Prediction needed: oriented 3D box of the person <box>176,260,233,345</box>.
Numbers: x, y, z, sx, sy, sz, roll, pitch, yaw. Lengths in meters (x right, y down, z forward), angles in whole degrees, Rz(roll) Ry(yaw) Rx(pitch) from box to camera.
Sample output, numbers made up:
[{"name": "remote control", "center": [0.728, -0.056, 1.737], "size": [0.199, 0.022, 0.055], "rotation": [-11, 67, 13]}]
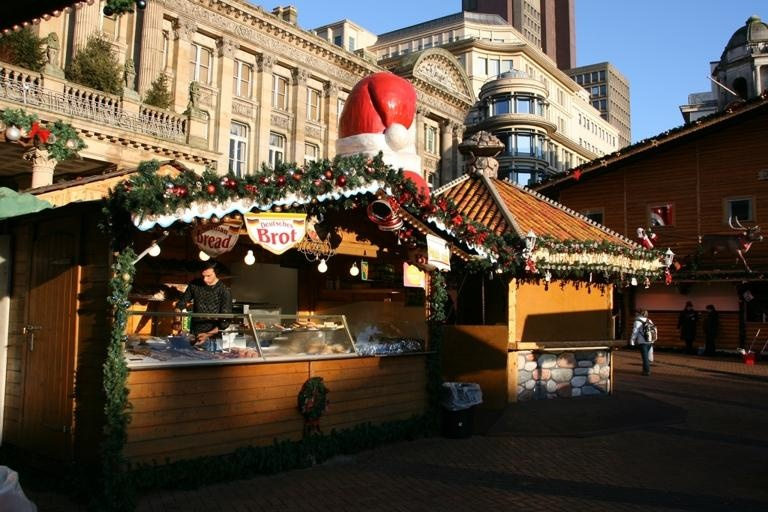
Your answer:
[{"name": "person", "center": [-3.389, 1.302, 14.333], "size": [0.950, 2.264, 0.819], "rotation": [10, 23, -1]}]

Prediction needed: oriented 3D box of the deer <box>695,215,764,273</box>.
[{"name": "deer", "center": [13.485, -0.480, 30.163], "size": [2.718, 2.257, 1.337], "rotation": [0, -1, 38]}]

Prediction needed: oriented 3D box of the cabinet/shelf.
[{"name": "cabinet/shelf", "center": [-2.663, 1.475, 13.998], "size": [4.071, 1.100, 1.363], "rotation": [-2, 8, -21]}]

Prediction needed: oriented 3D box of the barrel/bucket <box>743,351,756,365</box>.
[{"name": "barrel/bucket", "center": [13.069, 3.729, 26.995], "size": [0.365, 0.437, 0.995], "rotation": [5, 8, 27]}]

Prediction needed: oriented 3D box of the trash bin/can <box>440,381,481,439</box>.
[{"name": "trash bin/can", "center": [1.626, 3.292, 16.111], "size": [0.639, 1.003, 0.770], "rotation": [8, 10, 44]}]

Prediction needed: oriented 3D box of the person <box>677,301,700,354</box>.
[{"name": "person", "center": [12.246, 2.876, 30.492], "size": [0.682, 1.984, 0.699], "rotation": [4, 7, 23]}]
